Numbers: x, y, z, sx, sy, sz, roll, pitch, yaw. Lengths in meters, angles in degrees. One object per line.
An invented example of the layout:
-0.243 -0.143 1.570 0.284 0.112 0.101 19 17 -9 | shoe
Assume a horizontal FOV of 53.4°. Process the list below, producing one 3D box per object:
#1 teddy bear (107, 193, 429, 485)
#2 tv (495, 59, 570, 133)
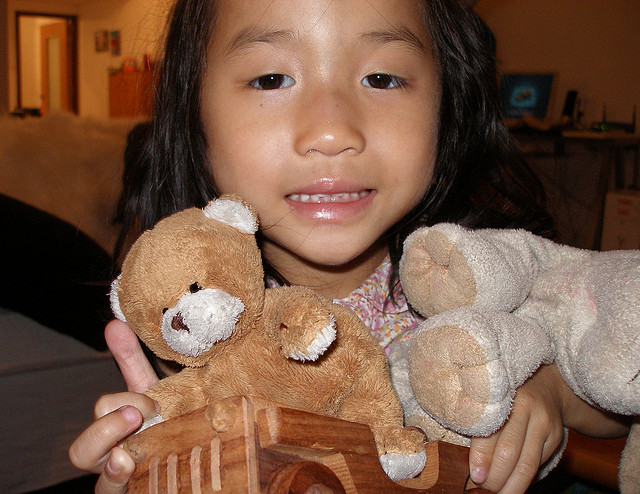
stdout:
-0.093 0.187 1.254 0.335 0.461 0.315 -37 -11 19 | teddy bear
1.053 -0.700 3.300 0.300 0.326 0.287 2 45 14 | tv
